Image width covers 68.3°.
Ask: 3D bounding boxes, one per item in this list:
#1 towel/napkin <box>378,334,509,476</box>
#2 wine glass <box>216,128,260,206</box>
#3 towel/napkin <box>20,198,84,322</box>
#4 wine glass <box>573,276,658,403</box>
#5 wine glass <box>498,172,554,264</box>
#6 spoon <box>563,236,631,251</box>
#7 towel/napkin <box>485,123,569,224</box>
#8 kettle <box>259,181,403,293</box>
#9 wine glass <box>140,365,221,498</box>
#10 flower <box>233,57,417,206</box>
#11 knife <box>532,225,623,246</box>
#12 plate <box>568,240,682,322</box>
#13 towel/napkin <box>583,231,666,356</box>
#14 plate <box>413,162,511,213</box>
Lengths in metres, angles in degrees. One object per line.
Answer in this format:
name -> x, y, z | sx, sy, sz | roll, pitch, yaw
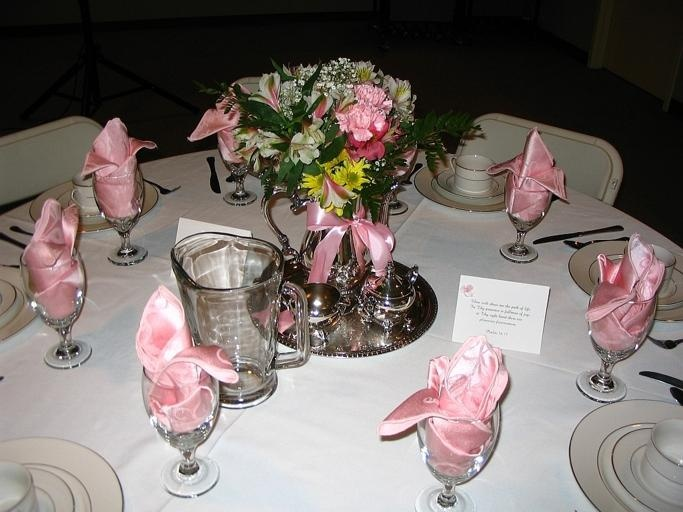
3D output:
towel/napkin -> 0.138, 0.205, 0.710 | 0.175, 0.146, 0.112 | -2, 34, -2
wine glass -> -0.296, -0.268, 1.478 | 0.112, 0.209, 0.120 | -10, 38, -25
towel/napkin -> -0.543, 0.005, 0.960 | 0.103, 0.220, 0.098 | -1, 31, -8
wine glass -> 0.501, 0.142, 0.928 | 0.108, 0.254, 0.116 | 5, 27, 15
wine glass -> 0.458, -0.109, 1.262 | 0.120, 0.246, 0.129 | -12, 33, -10
spoon -> 0.645, -0.032, 1.275 | 0.170, 0.023, 0.033 | -8, 52, 4
towel/napkin -> 0.454, -0.183, 1.223 | 0.195, 0.238, 0.180 | 5, 17, 2
kettle -> -0.038, -0.030, 1.111 | 0.234, 0.266, 0.186 | 6, 24, 6
wine glass -> -0.234, 0.256, 0.761 | 0.082, 0.178, 0.081 | -7, 15, -35
flower -> -0.029, -0.203, 0.999 | 0.301, 0.245, 0.305 | -12, 22, -28
knife -> 0.629, -0.053, 1.337 | 0.266, 0.016, 0.034 | -5, 44, -12
plate -> 0.664, 0.076, 1.193 | 0.199, 0.033, 0.216 | -3, 35, 1
towel/napkin -> 0.521, 0.039, 0.921 | 0.184, 0.085, 0.141 | -28, 8, 38
plate -> 0.343, -0.189, 1.505 | 0.183, 0.028, 0.197 | 8, 32, 11
